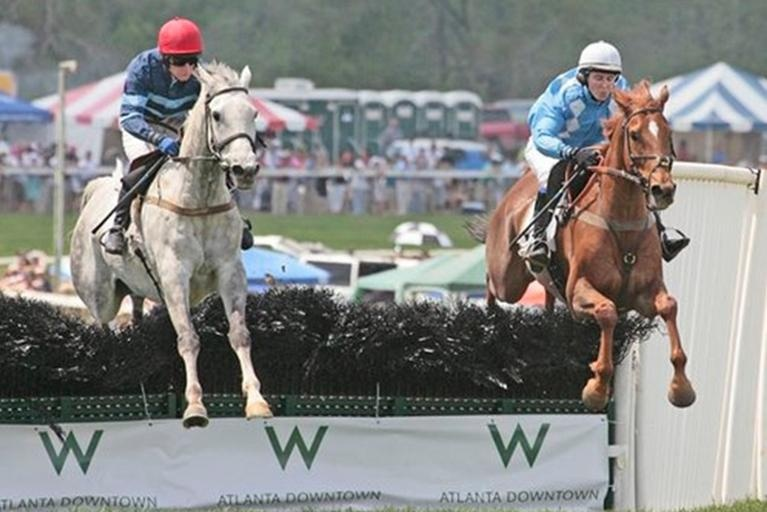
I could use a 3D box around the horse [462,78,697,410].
[{"bbox_3d":[4.952,-0.213,30.310,3.246,4.615,8.452,1,0,3],"label":"horse"}]
